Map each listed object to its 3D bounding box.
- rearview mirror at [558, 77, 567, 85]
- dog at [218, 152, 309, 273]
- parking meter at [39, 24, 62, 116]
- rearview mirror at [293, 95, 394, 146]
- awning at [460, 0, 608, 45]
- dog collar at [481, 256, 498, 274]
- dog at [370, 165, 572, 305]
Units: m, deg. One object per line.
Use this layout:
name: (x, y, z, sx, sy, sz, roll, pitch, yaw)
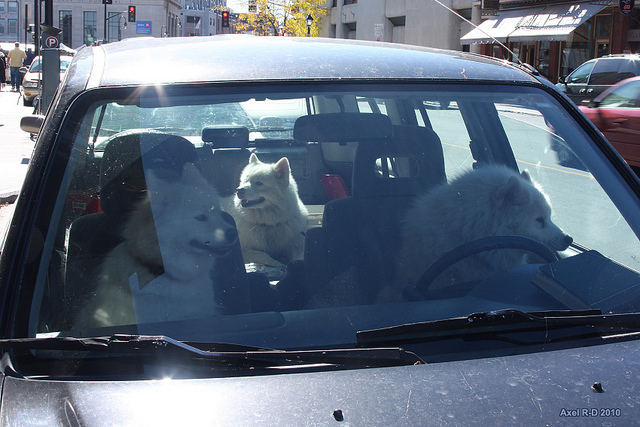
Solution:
rearview mirror: (8.753, -4.787, 19.848, 0.212, 0.214, 0.649, 3, 17, 14)
dog: (-0.218, 0.001, 3.510, 0.591, 0.649, 0.877, 7, 2, 27)
parking meter: (-5.090, -2.671, 10.466, 0.435, 1.740, 0.518, 0, 10, -42)
rearview mirror: (0.102, -0.495, 2.902, 0.618, 0.300, 0.141, 4, 6, 33)
awning: (10.344, -9.267, 26.702, 1.717, 1.682, 6.753, -7, 17, -17)
dog collar: (0.724, 0.222, 2.362, 0.066, 0.058, 0.025, 3, 16, 15)
dog: (0.751, 0.139, 2.648, 0.819, 0.655, 0.437, 3, 6, 25)
